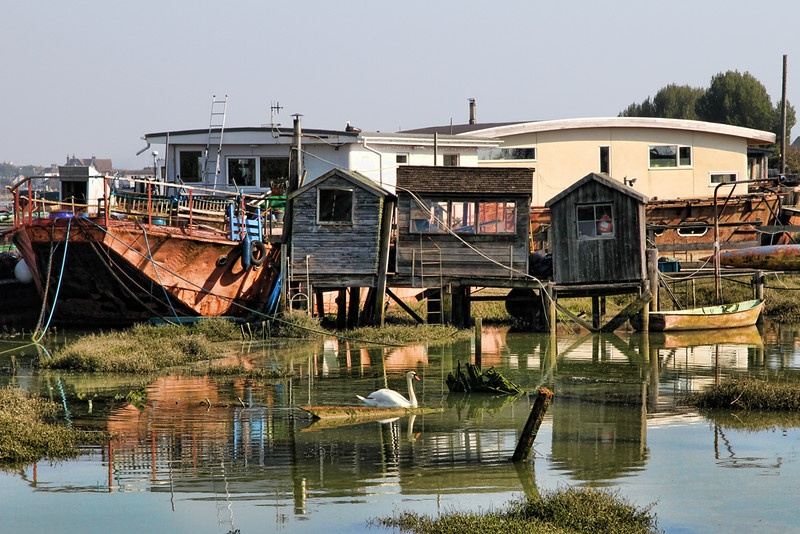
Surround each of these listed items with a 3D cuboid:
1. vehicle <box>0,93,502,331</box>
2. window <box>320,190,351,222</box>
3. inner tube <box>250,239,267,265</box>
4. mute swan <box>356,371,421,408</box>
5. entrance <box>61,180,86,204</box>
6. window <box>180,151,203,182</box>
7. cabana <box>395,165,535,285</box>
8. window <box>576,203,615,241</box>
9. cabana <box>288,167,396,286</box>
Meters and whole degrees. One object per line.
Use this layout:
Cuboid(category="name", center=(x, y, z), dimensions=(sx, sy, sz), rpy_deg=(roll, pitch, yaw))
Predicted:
Cuboid(category="vehicle", center=(-7.339, -1.262, 53.308), dimensions=(9.172, 6.565, 14.720), rpy_deg=(2, 3, 35))
Cuboid(category="window", center=(-2.290, -2.213, 50.505), dimensions=(1.014, 1.094, 0.116), rpy_deg=(1, -3, 0))
Cuboid(category="inner tube", center=(-5.218, -0.541, 51.730), dimensions=(0.243, 0.835, 0.799), rpy_deg=(-5, -10, 21))
Cuboid(category="mute swan", center=(-0.370, 3.605, 40.662), dimensions=(1.771, 1.222, 0.753), rpy_deg=(3, -9, 13))
Cuboid(category="entrance", center=(-11.206, -2.604, 48.811), dimensions=(0.931, 0.997, 0.693), rpy_deg=(1, -1, -1))
Cuboid(category="window", center=(-8.440, -4.105, 57.160), dimensions=(1.158, 1.681, 0.131), rpy_deg=(1, 0, -8))
Cuboid(category="cabana", center=(2.681, -1.896, 51.710), dimensions=(5.178, 4.429, 3.655), rpy_deg=(1, 10, 25))
Cuboid(category="window", center=(7.064, -1.600, 50.843), dimensions=(1.226, 1.246, 0.214), rpy_deg=(1, -1, 10))
Cuboid(category="cabana", center=(-2.089, -1.581, 52.730), dimensions=(3.646, 5.283, 4.221), rpy_deg=(0, 1, 4))
